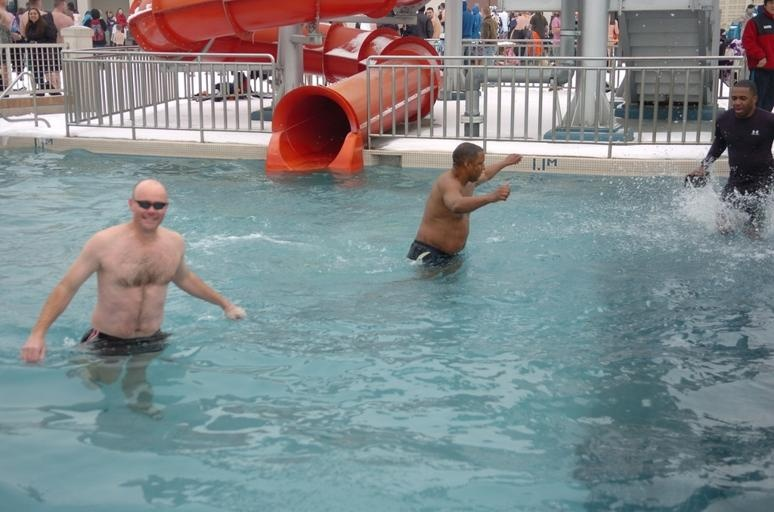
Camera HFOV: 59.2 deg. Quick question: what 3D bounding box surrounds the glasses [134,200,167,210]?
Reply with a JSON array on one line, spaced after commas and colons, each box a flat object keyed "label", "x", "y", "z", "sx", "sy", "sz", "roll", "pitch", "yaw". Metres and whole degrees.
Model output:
[{"label": "glasses", "x": -1.539, "y": -0.332, "z": 4.444, "sx": 0.188, "sy": 0.060, "sz": 0.078, "roll": -2, "pitch": 9, "yaw": -23}]

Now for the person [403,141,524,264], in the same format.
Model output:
[{"label": "person", "x": 0.881, "y": -0.462, "z": 6.410, "sx": 0.975, "sy": 1.180, "sz": 1.221, "roll": -2, "pitch": 9, "yaw": -23}]
